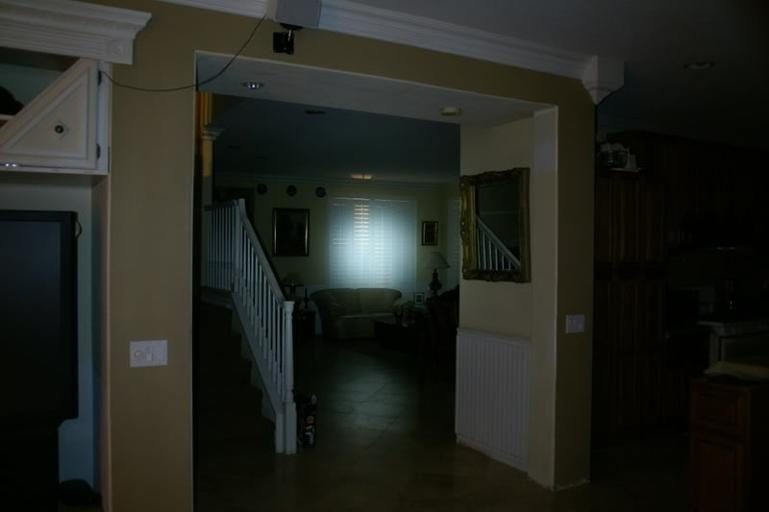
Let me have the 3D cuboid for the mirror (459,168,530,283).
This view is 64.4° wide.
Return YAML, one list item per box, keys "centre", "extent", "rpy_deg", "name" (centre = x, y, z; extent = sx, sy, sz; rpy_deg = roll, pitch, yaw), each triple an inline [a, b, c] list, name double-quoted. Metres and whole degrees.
- centre: [0.996, -0.273, 5.391]
  extent: [0.073, 1.180, 0.984]
  rpy_deg: [1, -1, -34]
  name: "mirror"

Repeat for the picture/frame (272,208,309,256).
- centre: [-1.690, -0.440, 10.734]
  extent: [0.787, 1.012, 0.096]
  rpy_deg: [-1, 2, -29]
  name: "picture/frame"

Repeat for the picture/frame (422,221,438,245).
- centre: [0.877, -0.457, 11.998]
  extent: [0.427, 0.592, 0.054]
  rpy_deg: [0, 2, -27]
  name: "picture/frame"

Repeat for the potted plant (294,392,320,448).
- centre: [-0.734, 1.515, 5.708]
  extent: [0.206, 0.427, 0.335]
  rpy_deg: [0, 6, -8]
  name: "potted plant"
